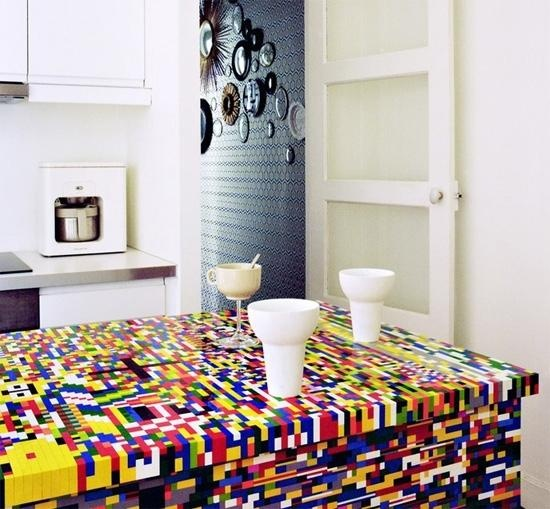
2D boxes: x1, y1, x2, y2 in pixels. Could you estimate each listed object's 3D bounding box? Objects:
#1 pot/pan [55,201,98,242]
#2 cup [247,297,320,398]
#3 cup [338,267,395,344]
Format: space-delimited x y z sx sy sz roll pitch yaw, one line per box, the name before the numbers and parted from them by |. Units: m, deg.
pot/pan | -0.946 -0.158 2.297 0.145 0.216 0.201 -1 4 -27
cup | 0.005 0.127 0.765 0.118 0.164 0.130 -1 1 -10
cup | 0.200 0.102 1.132 0.130 0.177 0.140 -2 4 0
